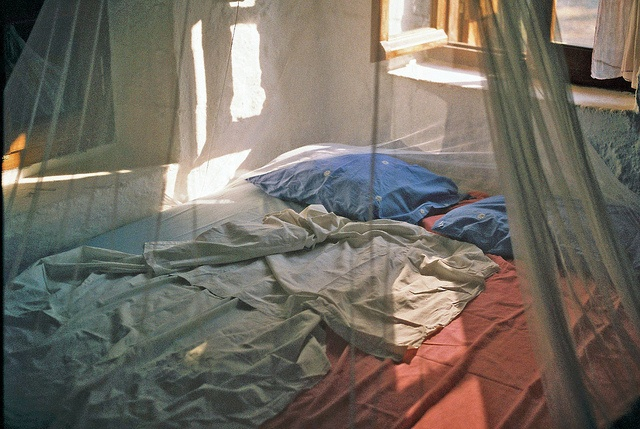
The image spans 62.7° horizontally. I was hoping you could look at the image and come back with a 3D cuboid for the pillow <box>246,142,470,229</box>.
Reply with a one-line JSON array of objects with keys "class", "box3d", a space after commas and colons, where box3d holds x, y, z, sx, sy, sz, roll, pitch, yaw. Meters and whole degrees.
[{"class": "pillow", "box3d": [0.144, -0.116, 2.037, 0.580, 0.151, 0.373, 10, 22, 35]}]
